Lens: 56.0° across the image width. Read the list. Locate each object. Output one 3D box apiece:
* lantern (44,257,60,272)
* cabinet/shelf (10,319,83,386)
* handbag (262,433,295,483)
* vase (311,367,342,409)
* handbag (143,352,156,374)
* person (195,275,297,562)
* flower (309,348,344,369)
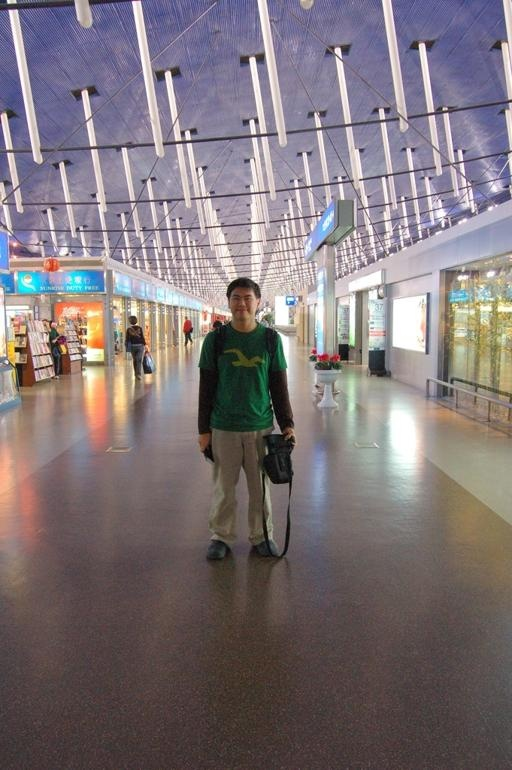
[{"bbox_3d":[-8.243,-4.827,19.501,0.454,0.601,0.575,12,26,-1],"label":"lantern"},{"bbox_3d":[-6.849,-1.105,15.868,1.202,2.203,4.558,0,2,-11],"label":"cabinet/shelf"},{"bbox_3d":[0.182,0.409,2.954,0.156,0.273,0.136,-2,30,14],"label":"handbag"},{"bbox_3d":[1.649,0.075,10.389,0.621,1.115,0.687,0,-2,-23],"label":"vase"},{"bbox_3d":[-3.321,-0.707,14.687,0.285,0.649,0.655,-1,2,-16],"label":"handbag"},{"bbox_3d":[-0.064,0.314,3.016,0.579,1.542,0.335,0,2,-9],"label":"person"},{"bbox_3d":[1.573,-0.487,10.242,0.551,0.425,0.621,-1,13,-23],"label":"flower"}]
